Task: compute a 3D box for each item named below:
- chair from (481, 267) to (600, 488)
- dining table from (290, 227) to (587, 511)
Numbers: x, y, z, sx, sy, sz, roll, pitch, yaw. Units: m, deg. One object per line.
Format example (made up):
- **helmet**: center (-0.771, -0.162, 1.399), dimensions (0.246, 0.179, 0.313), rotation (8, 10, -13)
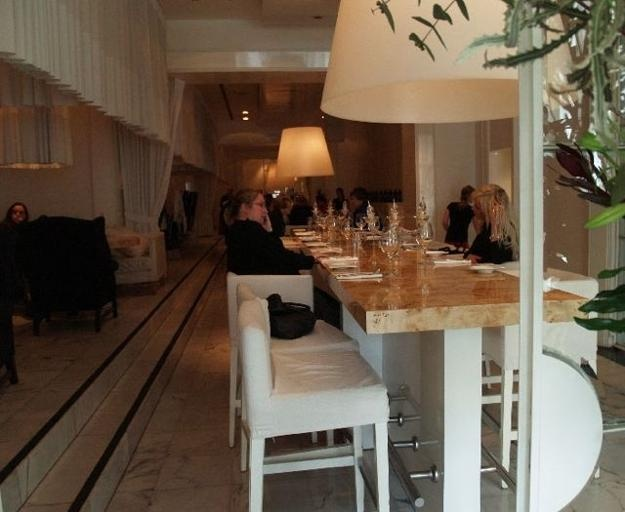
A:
- **chair**: center (0.727, 0.428, 1.788), dimensions (0.304, 0.542, 0.470), rotation (2, -24, 29)
- **dining table**: center (0.395, 0.445, 1.910), dimensions (0.387, 0.606, 1.157), rotation (-3, 7, -5)
